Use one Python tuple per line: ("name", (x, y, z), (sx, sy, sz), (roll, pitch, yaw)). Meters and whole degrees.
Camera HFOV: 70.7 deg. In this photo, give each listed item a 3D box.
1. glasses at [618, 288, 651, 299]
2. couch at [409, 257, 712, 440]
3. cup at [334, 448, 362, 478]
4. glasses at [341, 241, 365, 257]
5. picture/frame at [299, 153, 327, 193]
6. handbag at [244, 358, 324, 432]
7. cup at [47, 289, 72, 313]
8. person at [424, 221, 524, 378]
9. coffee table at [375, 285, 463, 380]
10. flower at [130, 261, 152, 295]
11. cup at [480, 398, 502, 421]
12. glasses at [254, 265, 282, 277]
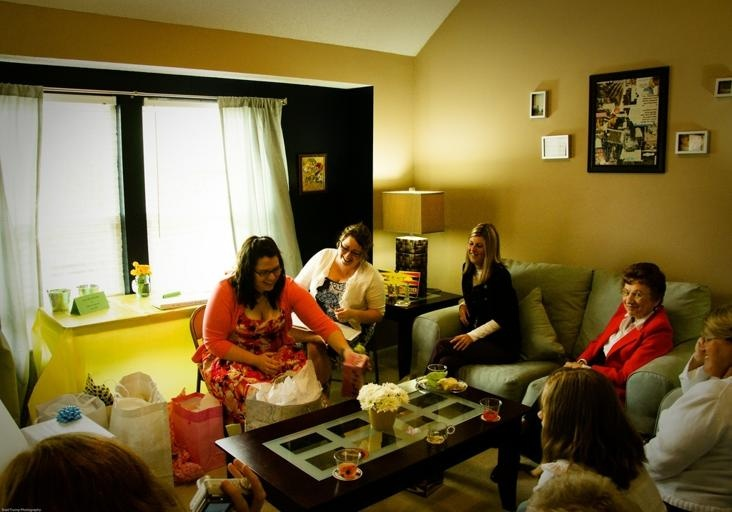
("glasses", (1.734, 0.239, 3.306), (0.161, 0.077, 0.061), (3, 11, 32))
("couch", (1.463, 0.723, 3.800), (0.996, 1.059, 1.907), (-14, 7, -21))
("cup", (-0.085, 0.984, 2.490), (0.116, 0.079, 0.117), (0, 1, 0))
("glasses", (-0.088, -0.079, 3.952), (0.124, 0.130, 0.041), (8, 18, 12))
("picture/frame", (-0.512, -0.801, 4.873), (0.358, 0.392, 0.029), (-8, 14, -43))
("handbag", (-0.491, 0.797, 3.080), (0.455, 0.298, 0.299), (-7, 4, -25))
("cup", (-2.229, 0.310, 3.791), (0.156, 0.170, 0.162), (3, 7, 0))
("person", (0.796, 0.470, 4.060), (0.786, 1.295, 0.593), (0, 3, -23))
("coffee table", (0.430, 0.635, 4.728), (0.693, 0.673, 0.686), (-3, 7, -35))
("flower", (-1.793, 0.172, 4.125), (0.160, 0.293, 0.226), (-7, 10, -25))
("cup", (0.700, 0.859, 2.883), (0.114, 0.094, 0.116), (0, -4, 0))
("glasses", (-0.609, 0.094, 3.236), (0.160, 0.055, 0.058), (-8, 10, -28))
